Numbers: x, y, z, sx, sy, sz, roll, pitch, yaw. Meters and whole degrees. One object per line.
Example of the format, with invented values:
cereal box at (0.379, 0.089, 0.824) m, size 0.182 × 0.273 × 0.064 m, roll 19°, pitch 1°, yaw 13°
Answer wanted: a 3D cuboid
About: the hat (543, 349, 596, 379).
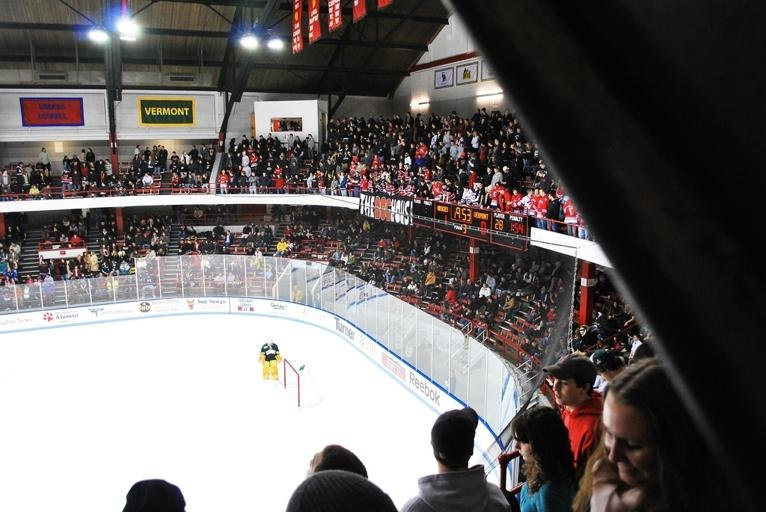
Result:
hat at (1.036, 0.614, 3.671) m, size 0.254 × 0.149 × 0.175 m, roll 8°, pitch 1°, yaw -4°
